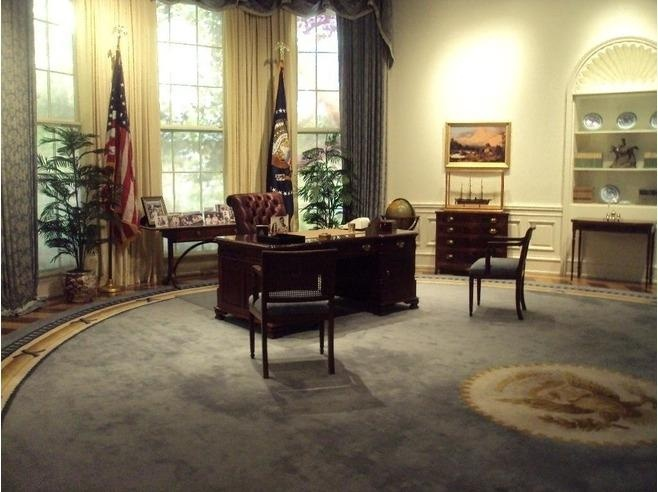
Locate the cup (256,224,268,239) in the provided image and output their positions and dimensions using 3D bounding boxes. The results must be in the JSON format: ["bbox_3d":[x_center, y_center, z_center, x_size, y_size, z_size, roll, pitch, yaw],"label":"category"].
[{"bbox_3d":[-0.669,-0.146,4.973,0.121,0.133,0.117,1,8,0],"label":"cup"}]

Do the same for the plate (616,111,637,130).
[{"bbox_3d":[4.239,-1.791,7.056,0.255,0.231,0.066,5,10,33],"label":"plate"}]

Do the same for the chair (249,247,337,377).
[{"bbox_3d":[-0.252,0.644,3.961,0.649,0.788,1.054,-5,53,3],"label":"chair"}]

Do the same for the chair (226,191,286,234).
[{"bbox_3d":[-0.926,-0.430,6.332,0.570,0.852,0.554,-2,2,-42],"label":"chair"}]

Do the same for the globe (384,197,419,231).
[{"bbox_3d":[1.113,-0.454,7.727,0.421,0.563,0.439,2,6,39],"label":"globe"}]

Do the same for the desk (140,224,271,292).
[{"bbox_3d":[-1.652,0.055,6.826,1.548,0.892,0.525,-7,19,-40],"label":"desk"}]

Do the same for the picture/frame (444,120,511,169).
[{"bbox_3d":[2.325,-1.575,7.594,0.687,0.557,0.051,1,1,14],"label":"picture/frame"}]

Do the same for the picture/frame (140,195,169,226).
[{"bbox_3d":[-2.284,-0.455,6.456,0.362,0.460,0.235,-5,0,-43],"label":"picture/frame"}]

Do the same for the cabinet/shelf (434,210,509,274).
[{"bbox_3d":[2.138,-0.136,7.752,1.324,1.481,0.842,1,2,21],"label":"cabinet/shelf"}]

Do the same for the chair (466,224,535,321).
[{"bbox_3d":[1.920,0.268,5.518,0.740,1.010,0.690,5,8,42],"label":"chair"}]

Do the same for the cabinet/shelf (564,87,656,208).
[{"bbox_3d":[4.064,-1.437,7.107,1.571,1.648,0.444,0,2,25],"label":"cabinet/shelf"}]

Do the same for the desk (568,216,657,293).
[{"bbox_3d":[3.986,0.112,6.884,0.864,0.903,0.389,2,6,29],"label":"desk"}]
